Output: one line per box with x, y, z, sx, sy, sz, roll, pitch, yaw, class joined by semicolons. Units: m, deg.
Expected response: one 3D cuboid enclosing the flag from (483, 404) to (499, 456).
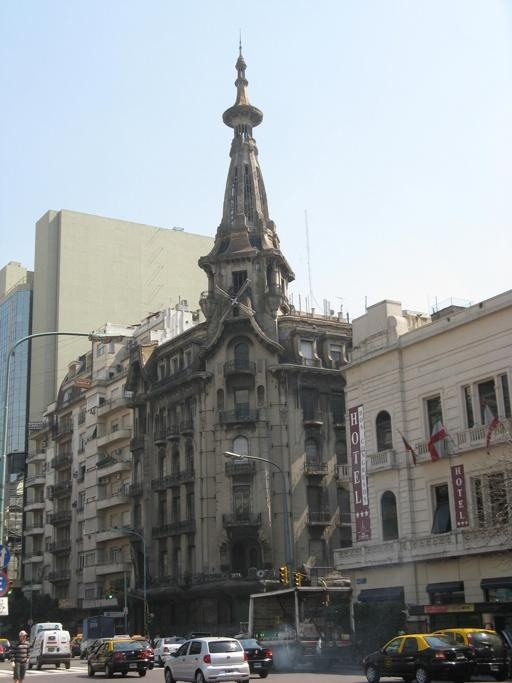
9.116;3.235;34.700;0.643;1.626;1.088;-8;-19;13;flag

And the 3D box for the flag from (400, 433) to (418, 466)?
6.721;4.686;39.492;0.514;1.539;1.147;-5;-19;3;flag

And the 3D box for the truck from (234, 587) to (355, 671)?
1.713;11.133;34.114;2.514;2.806;4.698;6;-22;-19;truck

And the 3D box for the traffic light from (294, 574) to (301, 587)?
1.517;8.863;33.330;0.237;0.460;0.514;-4;-19;1;traffic light

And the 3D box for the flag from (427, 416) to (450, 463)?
7.620;4.132;37.577;0.414;1.562;0.955;14;-26;-43;flag
